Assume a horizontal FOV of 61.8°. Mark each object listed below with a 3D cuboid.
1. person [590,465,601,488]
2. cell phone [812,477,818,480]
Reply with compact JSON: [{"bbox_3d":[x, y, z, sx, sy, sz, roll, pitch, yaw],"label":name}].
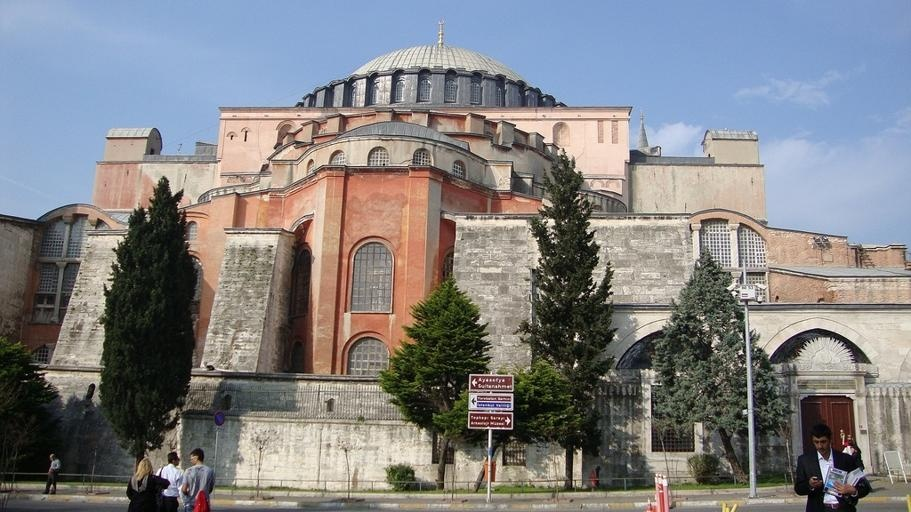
[{"bbox_3d":[7.120,11.164,38.507,0.531,1.070,1.568,-3,-17,9],"label":"person"},{"bbox_3d":[10.189,6.306,21.501,0.163,0.076,0.080,-1,-21,30],"label":"cell phone"}]
